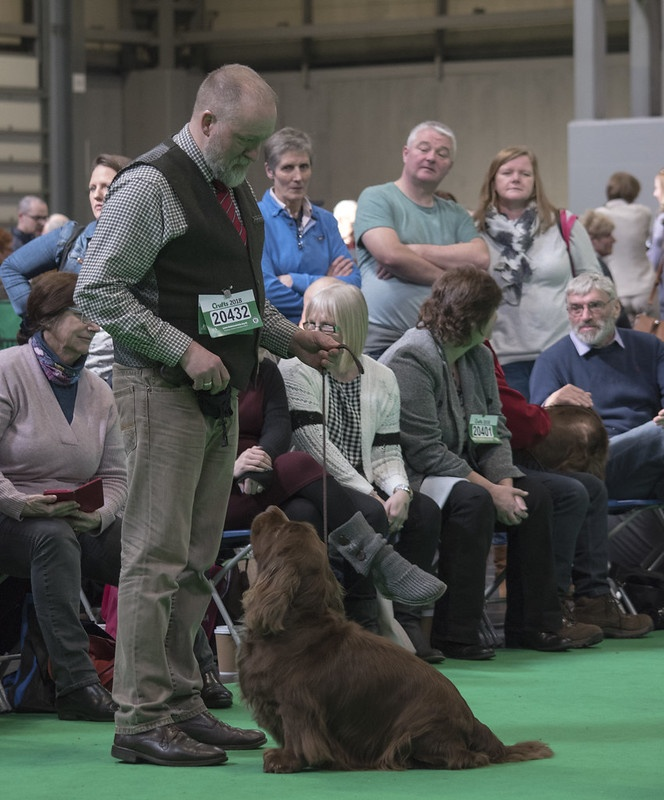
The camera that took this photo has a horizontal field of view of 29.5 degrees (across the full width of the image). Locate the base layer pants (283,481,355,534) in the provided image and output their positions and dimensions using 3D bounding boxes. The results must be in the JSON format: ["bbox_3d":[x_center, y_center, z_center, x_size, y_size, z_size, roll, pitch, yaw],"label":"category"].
[{"bbox_3d":[-0.038,0.338,4.140,0.198,0.198,0.082,40,-25,18],"label":"base layer pants"}]

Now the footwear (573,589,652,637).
[{"bbox_3d":[1.163,0.861,5.162,0.380,0.228,0.137,-3,0,-15],"label":"footwear"}]

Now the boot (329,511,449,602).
[{"bbox_3d":[0.165,0.479,3.953,0.421,0.187,0.139,27,53,23],"label":"boot"}]

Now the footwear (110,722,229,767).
[{"bbox_3d":[-0.377,0.811,3.005,0.279,0.117,0.097,-1,-4,5],"label":"footwear"}]

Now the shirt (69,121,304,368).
[{"bbox_3d":[-0.366,-0.373,3.012,0.313,0.583,0.476,1,2,20],"label":"shirt"}]

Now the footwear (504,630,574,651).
[{"bbox_3d":[0.764,0.896,4.723,0.258,0.107,0.084,-5,-6,22],"label":"footwear"}]

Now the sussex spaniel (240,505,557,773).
[{"bbox_3d":[0.164,0.565,2.923,0.835,0.542,0.359,1,1,29],"label":"sussex spaniel"}]

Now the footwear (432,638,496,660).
[{"bbox_3d":[0.482,0.886,4.528,0.218,0.080,0.069,-4,-5,15],"label":"footwear"}]

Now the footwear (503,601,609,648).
[{"bbox_3d":[0.867,0.849,4.770,0.411,0.171,0.145,-7,-7,26],"label":"footwear"}]

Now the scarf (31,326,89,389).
[{"bbox_3d":[-0.871,-0.141,3.932,0.222,0.132,0.163,17,24,-8],"label":"scarf"}]

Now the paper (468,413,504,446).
[{"bbox_3d":[0.576,0.104,4.780,0.138,0.100,0.021,2,-9,-31],"label":"paper"}]

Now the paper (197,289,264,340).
[{"bbox_3d":[-0.244,-0.209,2.967,0.150,0.099,0.007,-8,-24,-37],"label":"paper"}]

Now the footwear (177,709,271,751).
[{"bbox_3d":[-0.264,0.811,3.127,0.254,0.088,0.080,7,5,-22],"label":"footwear"}]

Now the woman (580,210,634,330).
[{"bbox_3d":[1.818,-0.874,8.598,0.374,0.787,0.365,-8,-3,29],"label":"woman"}]

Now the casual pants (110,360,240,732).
[{"bbox_3d":[-0.379,0.353,3.095,0.288,0.870,0.341,-2,0,20],"label":"casual pants"}]
